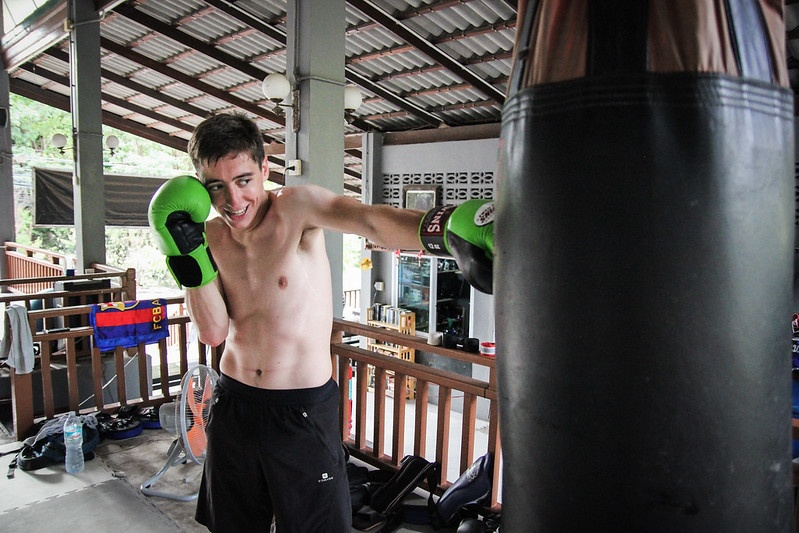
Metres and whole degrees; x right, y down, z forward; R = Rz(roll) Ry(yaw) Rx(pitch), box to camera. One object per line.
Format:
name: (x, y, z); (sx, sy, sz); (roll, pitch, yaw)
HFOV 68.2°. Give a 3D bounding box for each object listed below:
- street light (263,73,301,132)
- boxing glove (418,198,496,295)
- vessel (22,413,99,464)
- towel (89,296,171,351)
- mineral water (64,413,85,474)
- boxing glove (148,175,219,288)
street light: (-0.992, -1.387, 5.005); (0.310, 0.472, 0.224); (-4, 15, -29)
boxing glove: (0.130, -0.086, 1.466); (0.102, 0.191, 0.258); (-8, -5, -24)
vessel: (-2.141, 1.134, 3.776); (0.441, 0.151, 0.326); (-9, 19, -27)
towel: (-2.117, 0.455, 4.649); (0.120, 0.354, 0.601); (4, 9, 42)
mineral water: (-2.010, 1.097, 3.677); (0.104, 0.332, 0.256); (-1, -1, -29)
boxing glove: (-0.723, -0.115, 1.998); (0.202, 0.381, 0.244); (-1, -1, -17)
